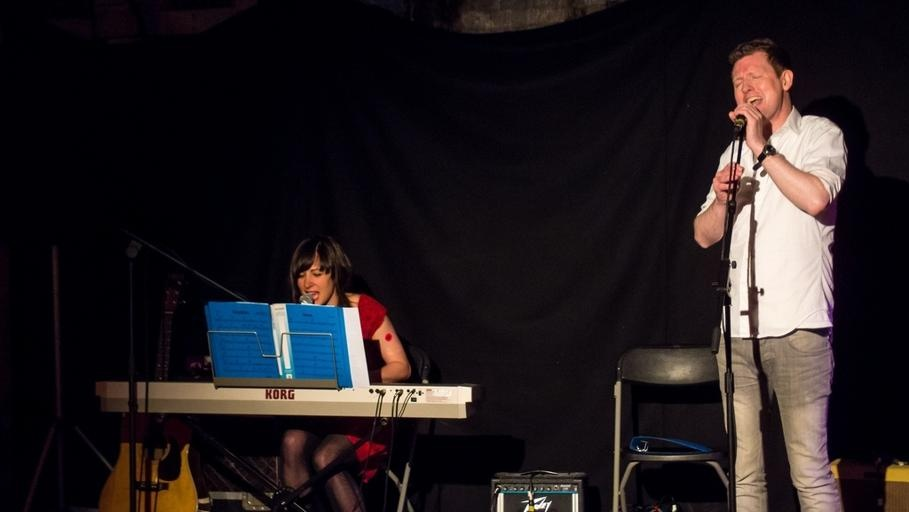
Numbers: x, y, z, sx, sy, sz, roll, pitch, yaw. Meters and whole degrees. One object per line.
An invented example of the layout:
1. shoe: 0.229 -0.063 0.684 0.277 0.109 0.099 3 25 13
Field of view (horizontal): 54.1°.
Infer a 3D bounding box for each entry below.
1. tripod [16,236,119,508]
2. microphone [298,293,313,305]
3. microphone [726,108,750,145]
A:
1. tripod: -2.860 0.860 6.575 0.646 1.921 0.615 1 -4 -26
2. microphone: -0.978 0.286 5.844 0.066 0.073 0.187 5 -1 0
3. microphone: 1.627 -0.731 5.114 0.066 0.157 0.118 0 -3 -26
